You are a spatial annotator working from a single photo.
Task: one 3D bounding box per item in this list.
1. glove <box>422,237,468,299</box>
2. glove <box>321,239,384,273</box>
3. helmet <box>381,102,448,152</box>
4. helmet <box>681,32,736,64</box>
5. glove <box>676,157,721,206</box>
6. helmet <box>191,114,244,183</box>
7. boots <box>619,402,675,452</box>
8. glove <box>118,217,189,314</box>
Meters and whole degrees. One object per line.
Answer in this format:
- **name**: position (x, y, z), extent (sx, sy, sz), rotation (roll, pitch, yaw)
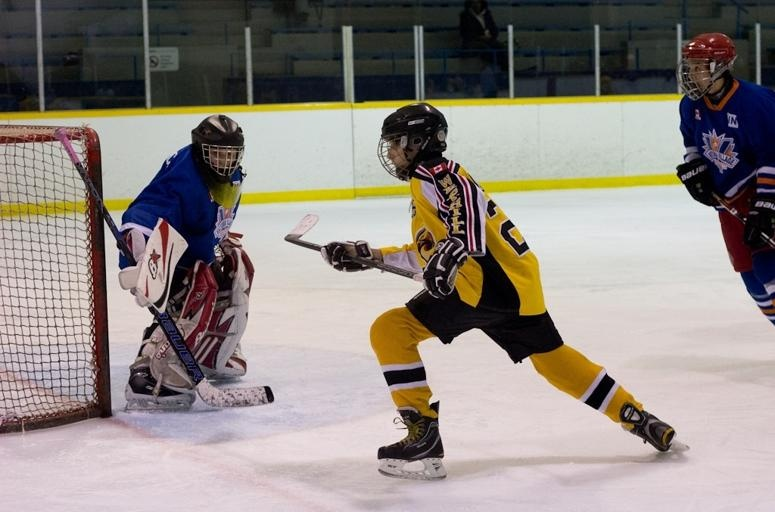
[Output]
- **glove**: position (0.241, 0.045, 3.935), extent (0.174, 0.248, 0.115), rotation (24, -10, 42)
- **glove**: position (-0.189, 0.013, 4.813), extent (0.321, 0.154, 0.355), rotation (1, -2, -1)
- **helmet**: position (0.122, -0.568, 4.215), extent (0.322, 0.217, 0.237), rotation (-3, 10, 0)
- **helmet**: position (1.656, -1.069, 4.842), extent (0.245, 0.157, 0.178), rotation (6, 4, 15)
- **glove**: position (1.658, -0.453, 5.060), extent (0.182, 0.065, 0.226), rotation (-23, -7, -6)
- **helmet**: position (-0.858, -0.581, 4.811), extent (0.274, 0.277, 0.305), rotation (-3, 19, -23)
- **boots**: position (1.142, 0.763, 4.176), extent (0.324, 0.139, 0.112), rotation (24, 1, -3)
- **glove**: position (-1.054, 0.033, 4.479), extent (0.181, 0.425, 0.477), rotation (4, 22, -33)
